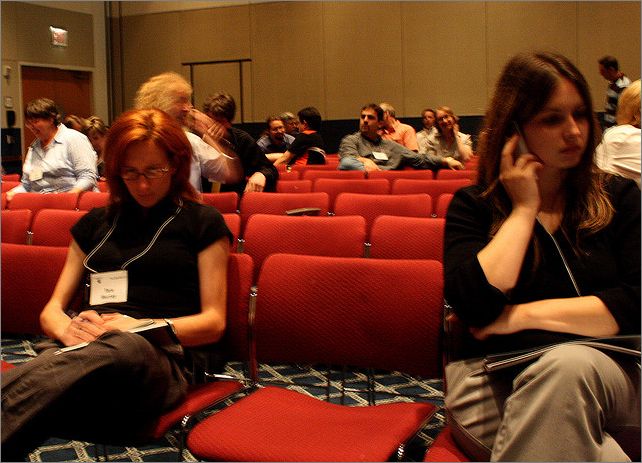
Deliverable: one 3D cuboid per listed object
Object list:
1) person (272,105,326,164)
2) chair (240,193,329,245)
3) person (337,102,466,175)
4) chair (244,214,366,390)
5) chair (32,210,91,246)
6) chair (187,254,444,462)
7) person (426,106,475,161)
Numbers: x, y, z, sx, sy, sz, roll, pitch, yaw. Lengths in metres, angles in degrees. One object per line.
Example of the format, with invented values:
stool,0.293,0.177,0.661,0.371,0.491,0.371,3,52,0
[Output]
person,-0.314,-1.335,7.196,0.724,0.924,0.706,-3,6,-5
chair,-0.274,-0.118,3.482,0.359,0.499,0.390,1,-6,5
person,0.901,-0.953,6.107,0.991,0.696,1.328,-7,7,-40
chair,-0.080,0.174,2.613,0.421,0.452,0.549,0,10,8
chair,-1.467,-0.013,2.765,0.196,0.275,0.214,3,-1,2
chair,-0.029,0.337,1.695,0.642,0.841,0.647,1,1,23
person,1.870,-1.369,7.288,0.756,1.014,0.580,-8,9,10
